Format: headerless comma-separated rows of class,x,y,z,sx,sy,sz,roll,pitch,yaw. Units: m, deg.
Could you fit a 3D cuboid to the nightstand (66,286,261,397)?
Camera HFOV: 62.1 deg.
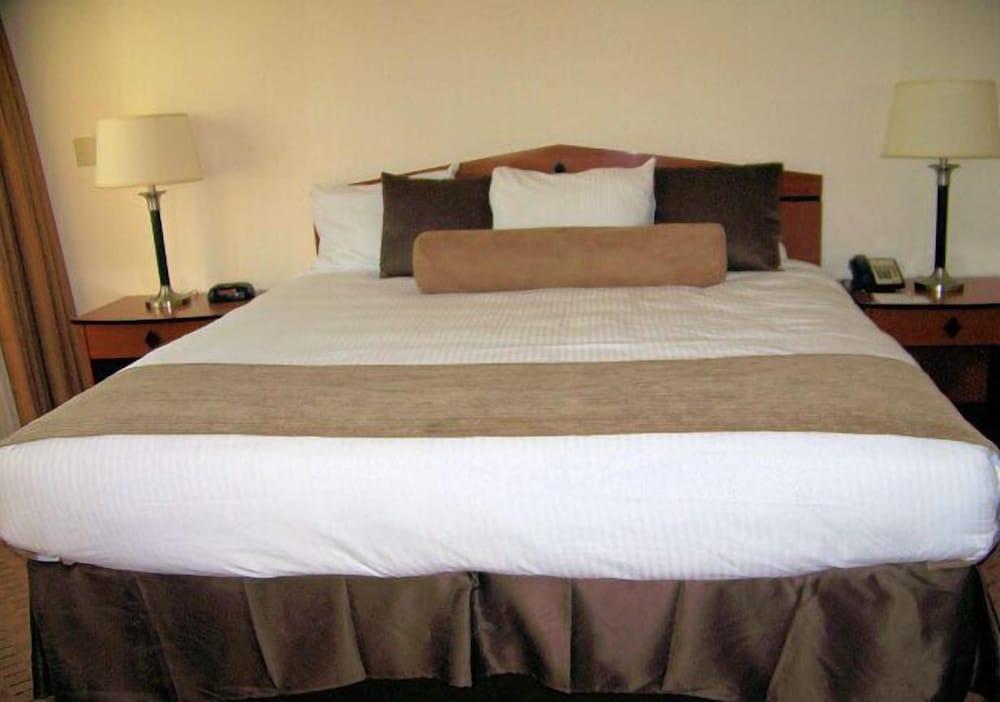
nightstand,-1.619,-0.193,4.077,0.793,0.621,0.526,-6,20,-15
